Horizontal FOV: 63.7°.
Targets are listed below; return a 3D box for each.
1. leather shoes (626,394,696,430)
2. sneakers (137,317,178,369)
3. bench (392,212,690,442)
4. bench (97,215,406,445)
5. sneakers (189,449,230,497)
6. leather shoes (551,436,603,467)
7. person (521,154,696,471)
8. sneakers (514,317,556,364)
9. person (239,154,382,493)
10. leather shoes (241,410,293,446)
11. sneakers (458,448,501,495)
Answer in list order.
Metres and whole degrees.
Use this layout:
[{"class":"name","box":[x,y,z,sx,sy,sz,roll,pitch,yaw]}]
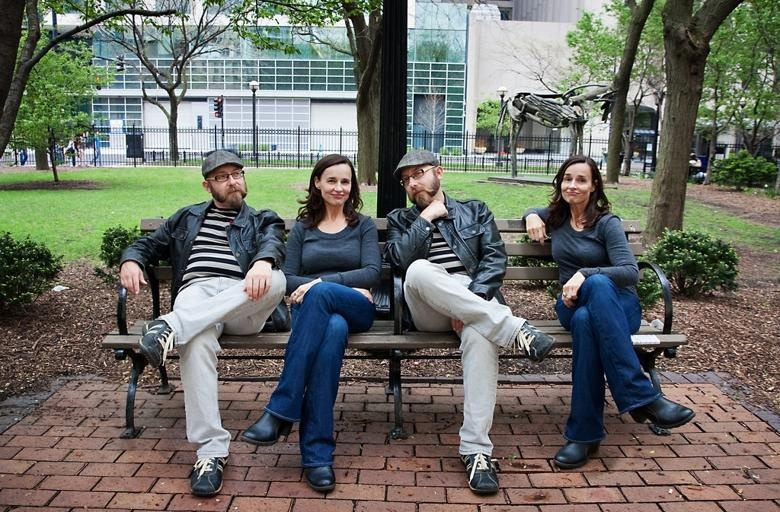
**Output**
[{"class":"leather shoes","box":[2.234,1.290,5.194,0.524,0.217,0.247,-9,12,33]},{"class":"sneakers","box":[-1.847,0.707,4.998,0.236,0.167,0.508,-17,31,-13]},{"class":"bench","box":[1.103,0.540,5.978,3.012,1.654,1.257,-1,17,-5]},{"class":"bench","box":[-1.146,0.626,5.878,2.682,1.579,1.150,-2,11,4]},{"class":"sneakers","box":[-1.437,1.723,4.913,0.154,0.154,0.418,0,0,-6]},{"class":"leather shoes","box":[1.585,1.634,5.299,0.444,0.177,0.174,-6,6,-35]},{"class":"person","box":[1.842,0.403,5.527,1.001,2.515,1.381,-1,12,-2]},{"class":"sneakers","box":[1.184,0.726,5.190,0.307,0.361,0.278,2,12,10]},{"class":"person","box":[-0.609,0.446,5.417,0.897,2.587,1.570,1,12,8]},{"class":"leather shoes","box":[-0.966,1.384,5.089,0.208,0.189,0.447,13,-1,32]},{"class":"sneakers","box":[0.728,1.726,5.017,0.304,0.265,0.247,1,11,7]}]
